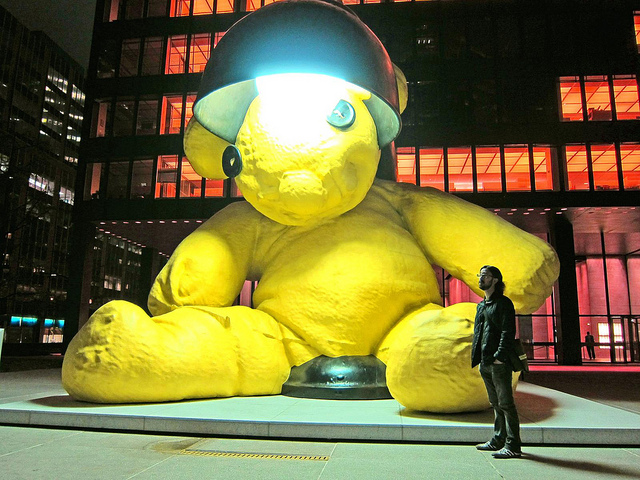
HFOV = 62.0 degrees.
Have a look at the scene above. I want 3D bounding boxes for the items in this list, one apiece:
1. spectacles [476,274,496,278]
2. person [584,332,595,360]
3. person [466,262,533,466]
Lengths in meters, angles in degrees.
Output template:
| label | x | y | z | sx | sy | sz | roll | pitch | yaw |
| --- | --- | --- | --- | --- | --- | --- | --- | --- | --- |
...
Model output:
| label | x | y | z | sx | sy | sz | roll | pitch | yaw |
| --- | --- | --- | --- | --- | --- | --- | --- | --- | --- |
| spectacles | 1.372 | 0.297 | 4.380 | 0.110 | 0.031 | 0.103 | 11 | -10 | -24 |
| person | 9.040 | 3.694 | 17.789 | 0.276 | 1.095 | 1.556 | 3 | 8 | 28 |
| person | 1.521 | 0.995 | 4.607 | 0.496 | 1.602 | 1.536 | 2 | 7 | 18 |
